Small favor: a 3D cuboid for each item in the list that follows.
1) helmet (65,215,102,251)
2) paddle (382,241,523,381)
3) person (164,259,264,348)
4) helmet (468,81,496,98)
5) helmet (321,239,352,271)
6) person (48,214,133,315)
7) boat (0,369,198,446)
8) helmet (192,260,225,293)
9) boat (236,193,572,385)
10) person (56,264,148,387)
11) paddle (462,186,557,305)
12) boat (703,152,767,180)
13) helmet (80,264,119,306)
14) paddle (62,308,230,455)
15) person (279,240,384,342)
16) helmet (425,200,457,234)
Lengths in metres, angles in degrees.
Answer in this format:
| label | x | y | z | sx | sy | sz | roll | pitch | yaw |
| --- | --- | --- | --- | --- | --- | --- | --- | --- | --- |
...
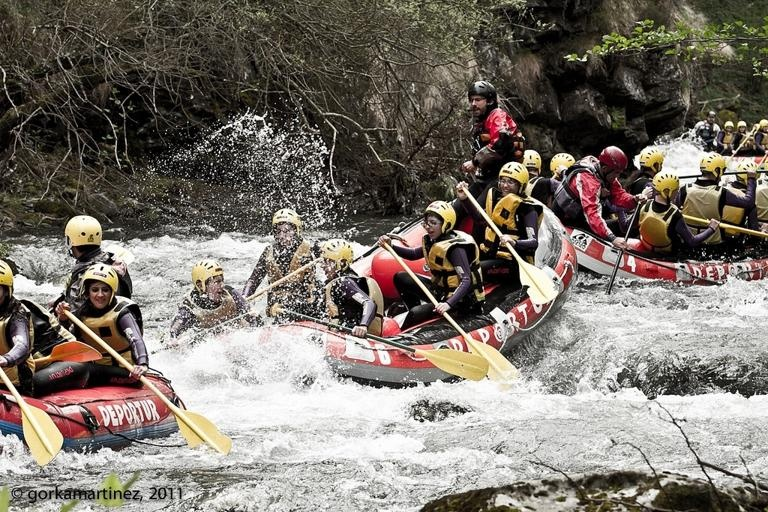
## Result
| label | x | y | z | sx | sy | sz | roll | pitch | yaw |
| --- | --- | --- | --- | --- | --- | --- | --- | --- | --- |
| helmet | -3.706 | -0.274 | 11.843 | 0.401 | 0.476 | 0.506 | -1 | 7 | -35 |
| paddle | 0.934 | 0.728 | 12.234 | 0.179 | 0.414 | 2.444 | -43 | 64 | -15 |
| person | -2.287 | 0.661 | 12.842 | 0.821 | 1.075 | 0.554 | -25 | 18 | -40 |
| helmet | 1.445 | -2.448 | 14.055 | 0.308 | 0.264 | 0.297 | 14 | 6 | 28 |
| helmet | -0.612 | -0.041 | 12.500 | 0.419 | 0.372 | 0.318 | -6 | 20 | -14 |
| person | -3.870 | 0.130 | 12.487 | 0.682 | 1.271 | 0.810 | 31 | 42 | 21 |
| boat | -3.052 | 1.652 | 10.196 | 1.429 | 0.502 | 0.819 | 9 | 30 | -43 |
| helmet | -2.285 | 0.214 | 12.370 | 0.443 | 0.424 | 0.377 | 6 | 17 | 39 |
| boat | 1.129 | 0.683 | 12.598 | 3.911 | 1.064 | 2.234 | -23 | 32 | -29 |
| person | -3.170 | 0.813 | 10.692 | 1.127 | 1.360 | 0.703 | -4 | 14 | 16 |
| paddle | 1.594 | -0.330 | 12.837 | 0.541 | 0.115 | 2.299 | -10 | 52 | -32 |
| boat | 5.599 | -1.486 | 15.578 | 0.829 | 0.339 | 0.518 | 7 | 12 | 4 |
| helmet | -3.123 | 0.250 | 10.599 | 0.336 | 0.488 | 0.359 | 11 | 4 | -9 |
| paddle | -2.681 | 1.452 | 10.692 | 2.079 | 0.106 | 0.308 | 39 | 35 | 3 |
| person | -0.650 | 0.449 | 12.960 | 1.144 | 2.119 | 1.502 | 8 | -14 | 0 |
| helmet | 0.745 | -0.539 | 12.289 | 0.443 | 0.393 | 0.389 | 9 | 11 | -4 |
